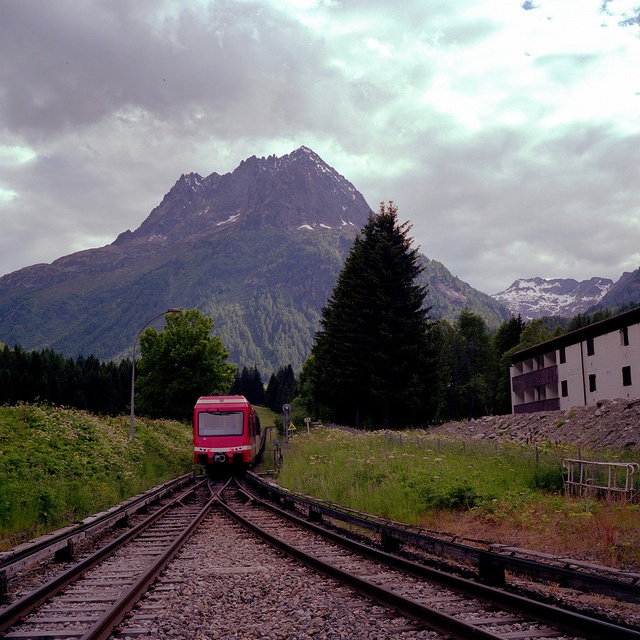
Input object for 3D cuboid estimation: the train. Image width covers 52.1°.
[{"bbox_3d":[-4.020,5.053,28.949,2.041,3.312,3.564,-2,-10,7],"label":"train"}]
